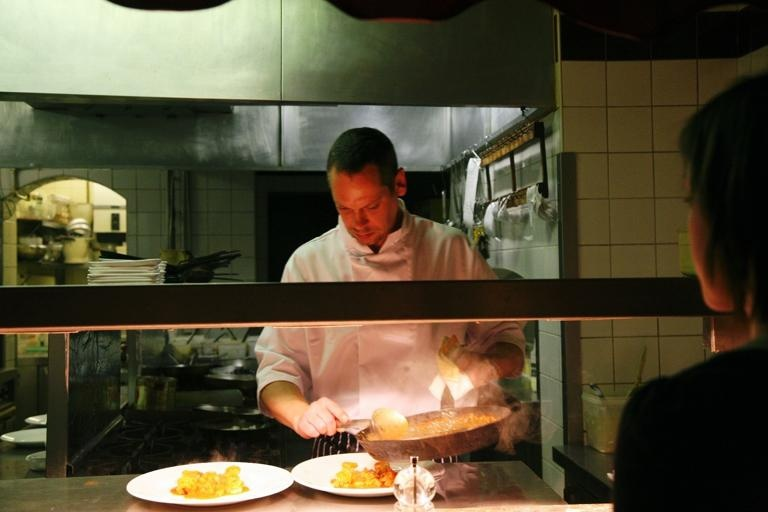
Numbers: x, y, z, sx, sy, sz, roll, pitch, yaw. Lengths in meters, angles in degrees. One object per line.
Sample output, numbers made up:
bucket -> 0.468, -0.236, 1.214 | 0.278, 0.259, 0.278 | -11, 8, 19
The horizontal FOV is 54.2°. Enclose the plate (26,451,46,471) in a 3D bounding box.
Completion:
plate -> -1.182, 0.698, 2.587 | 0.083, 0.052, 0.074 | 5, -5, -16

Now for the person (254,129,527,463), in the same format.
person -> -0.007, 0.067, 2.851 | 0.928, 1.218, 0.827 | -2, -4, -1

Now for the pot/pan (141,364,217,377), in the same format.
pot/pan -> -0.764, 0.428, 2.805 | 0.266, 0.050, 0.158 | -1, -4, -19

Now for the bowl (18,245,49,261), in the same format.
bowl -> -2.200, -0.022, 4.685 | 0.108, 0.057, 0.110 | 1, -2, 0
